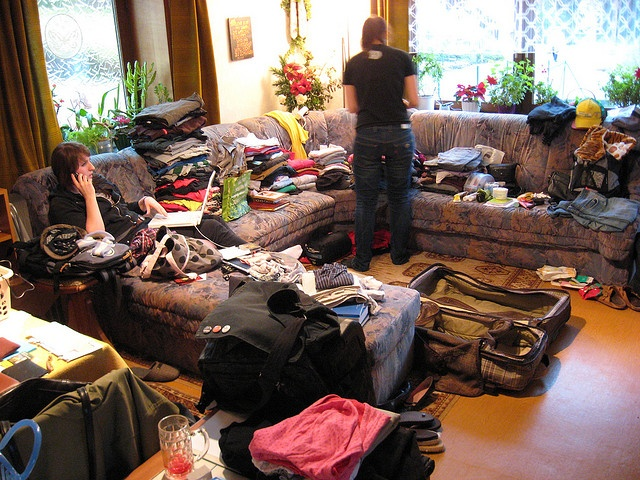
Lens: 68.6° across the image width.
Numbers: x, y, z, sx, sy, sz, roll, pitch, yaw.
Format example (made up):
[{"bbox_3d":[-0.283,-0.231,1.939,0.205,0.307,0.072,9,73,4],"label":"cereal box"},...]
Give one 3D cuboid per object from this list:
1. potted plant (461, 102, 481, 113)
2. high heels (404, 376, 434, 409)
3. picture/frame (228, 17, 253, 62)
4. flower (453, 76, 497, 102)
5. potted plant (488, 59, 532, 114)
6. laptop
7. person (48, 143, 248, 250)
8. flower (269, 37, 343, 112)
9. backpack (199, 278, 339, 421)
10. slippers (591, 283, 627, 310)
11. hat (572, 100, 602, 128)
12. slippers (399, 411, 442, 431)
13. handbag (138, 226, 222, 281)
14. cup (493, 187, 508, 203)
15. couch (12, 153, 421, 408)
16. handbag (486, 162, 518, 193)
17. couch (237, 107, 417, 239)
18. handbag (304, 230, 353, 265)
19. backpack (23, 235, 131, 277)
[{"bbox_3d":[1.515,-1.351,4.726,0.127,0.079,0.126,1,19,8],"label":"potted plant"},{"bbox_3d":[0.509,0.794,2.466,0.075,0.087,0.225,-2,26,42],"label":"high heels"},{"bbox_3d":[-0.821,-2.068,4.848,0.049,0.426,0.345,9,22,30],"label":"picture/frame"},{"bbox_3d":[1.541,-1.501,4.734,0.287,0.113,0.281,-19,31,-27],"label":"flower"},{"bbox_3d":[1.884,-1.547,4.784,0.460,0.521,0.520,8,27,19],"label":"potted plant"},{"bbox_3d":[-0.922,-0.265,3.199,0.352,0.221,0.355,4,19,7],"label":"laptop"},{"bbox_3d":[-1.057,-0.205,3.173,1.437,0.768,0.603,3,17,-4],"label":"person"},{"bbox_3d":[-0.172,-1.820,5.133,0.643,0.784,0.837,2,19,13],"label":"flower"},{"bbox_3d":[-0.218,0.470,1.990,0.602,0.500,0.434,9,21,30],"label":"backpack"},{"bbox_3d":[1.972,0.387,3.179,0.118,0.058,0.175,-10,20,-7],"label":"slippers"},{"bbox_3d":[2.124,-0.992,3.725,0.204,0.230,0.222,8,21,29],"label":"hat"},{"bbox_3d":[0.459,0.850,2.215,0.212,0.063,0.118,-2,12,2],"label":"slippers"},{"bbox_3d":[-0.841,0.098,2.822,0.358,0.152,0.351,-1,22,-4],"label":"handbag"},{"bbox_3d":[1.466,-0.368,3.833,0.124,0.091,0.122,-4,17,1],"label":"cup"},{"bbox_3d":[-0.381,0.304,2.796,1.751,0.748,1.870,10,27,21],"label":"couch"},{"bbox_3d":[1.606,-0.552,4.147,0.241,0.247,0.258,5,18,24],"label":"handbag"},{"bbox_3d":[-0.097,-0.778,4.225,1.317,1.069,1.318,9,13,36],"label":"couch"},{"bbox_3d":[0.080,0.065,3.932,0.207,0.210,0.404,-8,8,36],"label":"handbag"},{"bbox_3d":[-1.389,0.120,2.629,0.371,0.122,0.291,1,11,-2],"label":"backpack"}]
